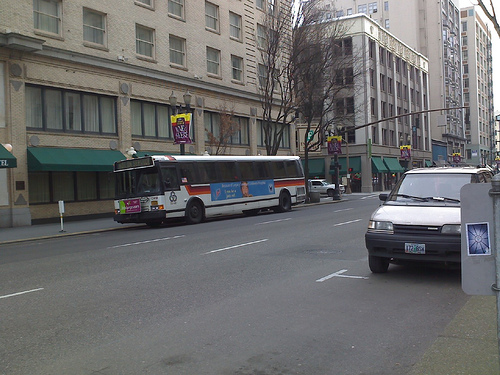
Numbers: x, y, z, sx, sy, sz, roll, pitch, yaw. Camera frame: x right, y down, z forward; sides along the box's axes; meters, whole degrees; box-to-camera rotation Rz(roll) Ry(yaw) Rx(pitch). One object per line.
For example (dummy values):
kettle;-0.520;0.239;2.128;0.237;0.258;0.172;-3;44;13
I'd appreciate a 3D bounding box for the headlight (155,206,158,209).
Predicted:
headlight;-4.512;0.985;21.025;0.123;0.143;0.028;-2;1;1

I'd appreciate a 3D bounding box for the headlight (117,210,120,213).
headlight;-6.559;1.189;21.739;0.099;0.116;0.026;5;-4;20

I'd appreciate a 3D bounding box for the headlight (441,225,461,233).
headlight;3.663;0.774;7.953;0.305;0.141;0.210;-2;1;16

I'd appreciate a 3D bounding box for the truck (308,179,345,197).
truck;9.285;0.029;52.553;3.580;2.068;7.063;-2;1;16

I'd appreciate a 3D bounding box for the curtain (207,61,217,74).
curtain;-3.225;-9.988;36.122;0.086;0.821;1.252;-8;1;23

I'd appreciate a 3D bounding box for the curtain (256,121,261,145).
curtain;0.847;-5.173;41.314;0.135;2.246;0.768;-1;1;25

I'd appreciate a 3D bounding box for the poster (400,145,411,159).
poster;22.812;-5.201;64.088;1.841;2.638;0.843;-1;-6;2

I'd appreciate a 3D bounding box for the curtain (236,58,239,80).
curtain;-1.107;-10.581;38.969;0.118;1.878;0.446;-1;1;30

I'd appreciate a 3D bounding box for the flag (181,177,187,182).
flag;-3.371;-0.376;22.389;0.266;0.169;0.259;1;16;-15

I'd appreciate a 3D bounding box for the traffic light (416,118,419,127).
traffic light;29.261;-11.371;76.327;1.103;1.274;0.276;5;-3;-29

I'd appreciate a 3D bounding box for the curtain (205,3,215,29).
curtain;-3.321;-14.256;36.263;0.103;1.856;1.182;0;2;36

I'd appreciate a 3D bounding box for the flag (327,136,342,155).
flag;8.006;-3.976;40.866;1.379;2.412;1.539;-1;-3;4

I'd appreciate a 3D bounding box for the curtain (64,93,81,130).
curtain;-10.825;-4.639;26.685;0.206;1.726;1.041;-1;1;29

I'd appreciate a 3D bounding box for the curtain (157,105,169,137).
curtain;-6.404;-4.870;32.150;0.219;2.245;1.158;-1;1;29

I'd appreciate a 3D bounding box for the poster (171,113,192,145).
poster;-4.003;-3.422;25.429;1.434;1.743;0.393;-1;1;42

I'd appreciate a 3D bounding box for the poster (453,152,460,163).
poster;41.149;-6.002;87.066;1.175;1.706;5.949;-1;1;24

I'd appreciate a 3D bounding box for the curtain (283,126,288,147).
curtain;3.616;-5.170;44.549;0.464;2.174;1.254;-1;1;6

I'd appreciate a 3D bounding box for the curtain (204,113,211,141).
curtain;-3.457;-4.930;35.538;0.250;2.295;0.863;-1;1;26

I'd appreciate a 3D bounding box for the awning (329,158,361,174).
awning;12.752;-2.809;57.666;2.441;1.933;1.432;-2;-4;35

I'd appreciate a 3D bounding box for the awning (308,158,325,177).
awning;9.592;-2.824;62.794;2.183;2.598;1.887;-1;1;20

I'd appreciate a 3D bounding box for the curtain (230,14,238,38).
curtain;-1.415;-14.329;38.581;0.120;1.844;1.088;0;1;35

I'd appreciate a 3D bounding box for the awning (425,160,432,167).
awning;32.584;-4.460;79.684;0.965;1.025;4.708;-1;1;24

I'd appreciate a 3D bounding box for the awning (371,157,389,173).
awning;18.094;-3.205;61.289;1.122;2.143;3.798;-1;1;34

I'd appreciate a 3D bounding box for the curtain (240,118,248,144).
curtain;-0.528;-5.072;39.386;0.103;2.253;1.067;0;2;37

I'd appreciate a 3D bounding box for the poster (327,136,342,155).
poster;7.942;-3.965;40.827;1.344;2.348;1.508;-1;2;0
